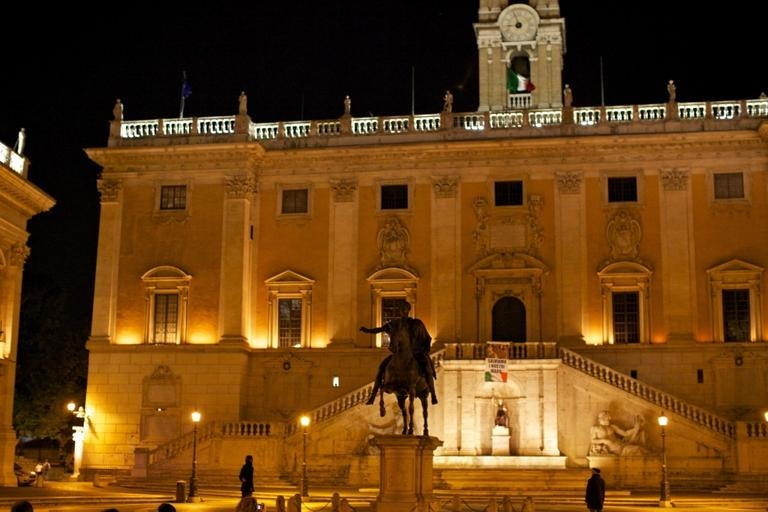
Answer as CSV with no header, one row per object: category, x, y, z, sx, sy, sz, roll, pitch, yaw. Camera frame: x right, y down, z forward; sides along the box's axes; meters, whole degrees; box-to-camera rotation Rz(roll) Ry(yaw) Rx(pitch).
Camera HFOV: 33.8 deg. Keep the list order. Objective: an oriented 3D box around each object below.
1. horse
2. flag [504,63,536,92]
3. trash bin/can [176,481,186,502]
horse,0.978,4.597,47.432,1.672,4.481,1.765,-5,-14,17
flag,7.988,-10.373,73.469,2.077,2.153,0.240,-1,-2,-4
trash bin/can,-8.847,10.453,55.365,0.339,0.919,0.528,3,-14,-16
